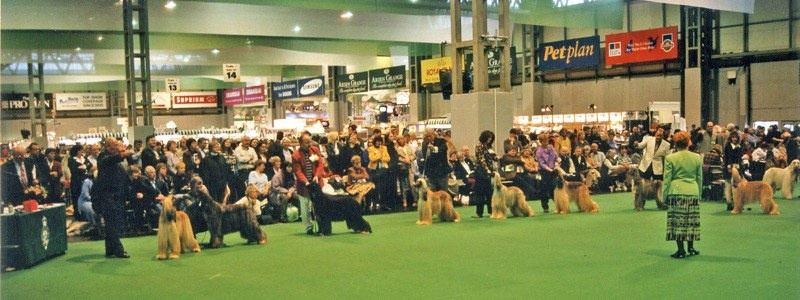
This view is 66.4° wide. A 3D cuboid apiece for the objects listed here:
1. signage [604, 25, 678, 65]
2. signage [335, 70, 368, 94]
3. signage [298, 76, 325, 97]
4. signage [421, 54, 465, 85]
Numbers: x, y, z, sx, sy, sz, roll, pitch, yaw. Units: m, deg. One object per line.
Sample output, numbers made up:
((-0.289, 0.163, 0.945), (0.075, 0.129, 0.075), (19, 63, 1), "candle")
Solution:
((18.845, -8.118, 47.772), (0.292, 2.473, 6.423), (-4, 4, -33), "signage")
((-4.150, -5.584, 51.541), (0.071, 1.762, 4.369), (10, 16, 33), "signage")
((-7.589, -5.358, 51.679), (2.712, 1.493, 0.467), (0, 5, 44), "signage")
((3.982, -6.552, 50.373), (2.235, 2.056, 4.205), (0, 1, -43), "signage")
